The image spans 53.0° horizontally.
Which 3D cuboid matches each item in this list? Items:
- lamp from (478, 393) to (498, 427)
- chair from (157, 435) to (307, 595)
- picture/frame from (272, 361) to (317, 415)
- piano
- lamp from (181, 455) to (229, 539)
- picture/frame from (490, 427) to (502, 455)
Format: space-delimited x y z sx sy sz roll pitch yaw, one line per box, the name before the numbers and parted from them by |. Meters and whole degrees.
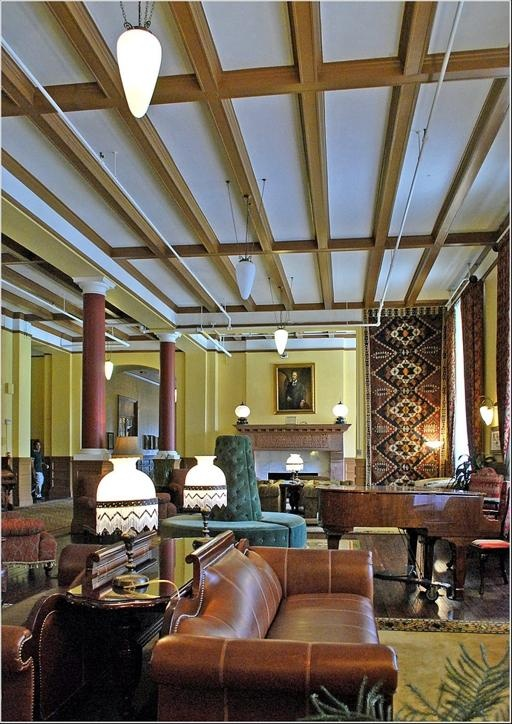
lamp | 3.699 0.773 8.168 0.217 0.462 0.263 4 -11 3
chair | -0.190 1.378 5.487 1.490 1.102 1.512 -8 -13 39
picture/frame | 1.125 0.742 14.206 1.376 1.744 0.137 0 -10 5
piano | 1.517 1.773 5.299 1.514 1.009 1.035 0 -5 6
lamp | -0.353 0.931 3.568 0.309 0.567 0.318 -5 -14 13
picture/frame | 3.749 1.202 8.027 0.069 0.381 0.613 1 -11 18
